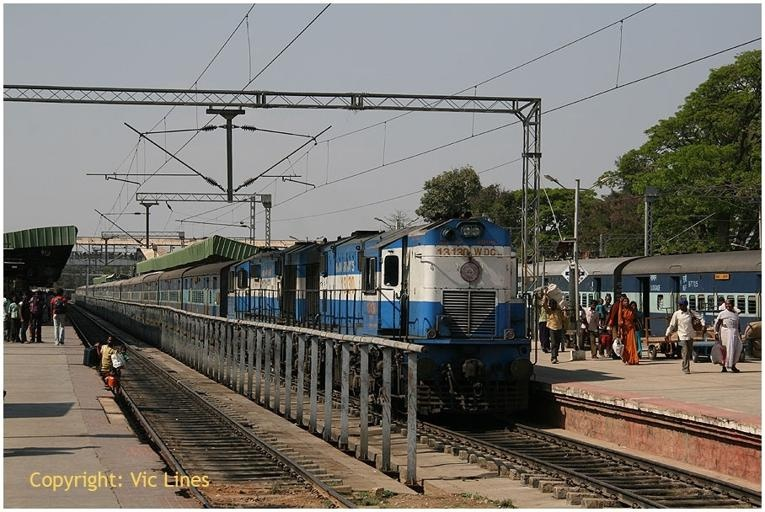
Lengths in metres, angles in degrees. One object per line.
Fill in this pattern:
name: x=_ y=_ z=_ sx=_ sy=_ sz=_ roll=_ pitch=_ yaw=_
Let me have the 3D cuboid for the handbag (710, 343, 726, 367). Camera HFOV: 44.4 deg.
handbag: x=9.779 y=2.863 z=27.400 sx=0.421 sy=0.589 sz=0.158 roll=-2 pitch=0 yaw=3

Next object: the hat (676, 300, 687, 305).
hat: x=8.574 y=1.312 z=26.774 sx=0.211 sy=0.104 sz=0.286 roll=0 pitch=-4 yaw=-7

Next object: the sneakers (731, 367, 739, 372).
sneakers: x=10.272 y=3.317 z=27.318 sx=0.223 sy=0.147 sz=0.480 roll=-2 pitch=-5 yaw=21

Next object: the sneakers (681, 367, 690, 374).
sneakers: x=8.795 y=3.320 z=27.156 sx=0.159 sy=0.147 sz=0.193 roll=2 pitch=-5 yaw=-18

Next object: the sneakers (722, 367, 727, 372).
sneakers: x=10.015 y=3.321 z=27.438 sx=0.114 sy=0.083 sz=0.122 roll=-1 pitch=0 yaw=-4

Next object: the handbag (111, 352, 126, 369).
handbag: x=-7.381 y=2.897 z=26.149 sx=0.276 sy=0.496 sz=0.434 roll=-10 pitch=-28 yaw=-10
